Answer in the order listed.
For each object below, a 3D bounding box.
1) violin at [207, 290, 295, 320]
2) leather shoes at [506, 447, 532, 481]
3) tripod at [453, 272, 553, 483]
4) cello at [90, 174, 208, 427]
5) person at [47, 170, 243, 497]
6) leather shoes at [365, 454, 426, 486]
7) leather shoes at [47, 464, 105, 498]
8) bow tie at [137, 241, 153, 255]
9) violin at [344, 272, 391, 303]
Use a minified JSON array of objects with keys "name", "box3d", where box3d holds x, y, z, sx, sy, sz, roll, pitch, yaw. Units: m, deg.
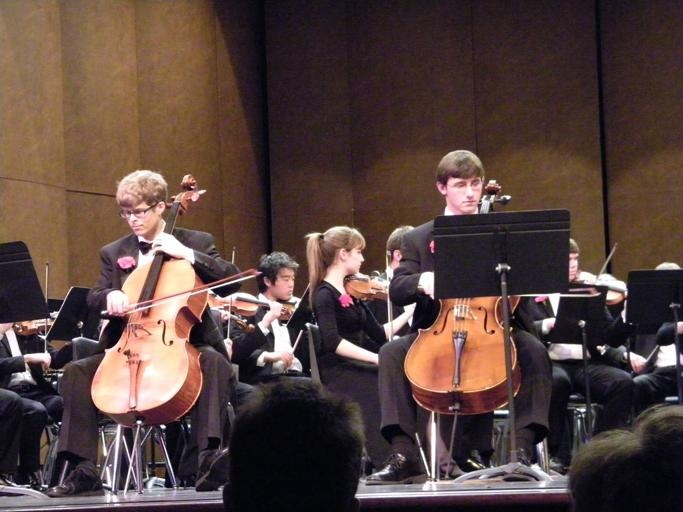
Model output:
[{"name":"violin","box3d":[-0.781,0.463,6.997,0.712,0.132,0.290,9,16,-26]},{"name":"leather shoes","box3d":[1.056,1.219,4.748,0.115,0.173,0.060,-5,-2,14]},{"name":"tripod","box3d":[0.908,0.652,4.619,0.528,1.219,0.316,-2,-3,14]},{"name":"cello","box3d":[-1.166,0.239,5.279,0.640,1.849,0.281,-7,-39,11]},{"name":"person","box3d":[-1.302,0.500,5.381,1.034,2.407,0.863,-5,-37,-6]},{"name":"leather shoes","box3d":[0.348,1.287,4.883,0.398,0.182,0.151,3,-21,-9]},{"name":"leather shoes","box3d":[-1.539,1.321,4.770,0.397,0.187,0.136,9,-15,-30]},{"name":"bow tie","box3d":[-1.331,-0.055,5.525,0.088,0.090,0.030,18,3,7]},{"name":"violin","box3d":[0.210,0.254,6.523,0.432,0.075,0.171,16,28,-46]}]
